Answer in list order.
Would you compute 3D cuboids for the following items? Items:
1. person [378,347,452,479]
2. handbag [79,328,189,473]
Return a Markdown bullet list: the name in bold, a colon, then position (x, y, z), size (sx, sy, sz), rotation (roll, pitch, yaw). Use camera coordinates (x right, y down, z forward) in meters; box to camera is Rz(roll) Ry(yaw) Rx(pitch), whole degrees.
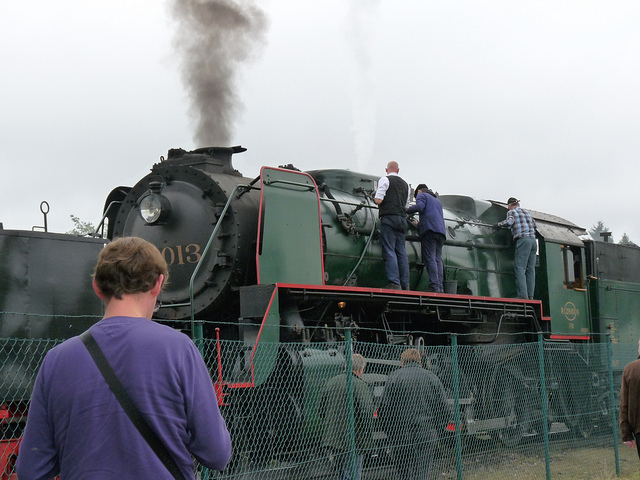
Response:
- **person**: position (1.059, 1.930, 7.113), size (0.271, 1.413, 1.025), rotation (-11, -14, 42)
- **handbag**: position (-0.933, 0.808, 3.126), size (0.094, 0.831, 0.089), rotation (-38, -6, 10)
